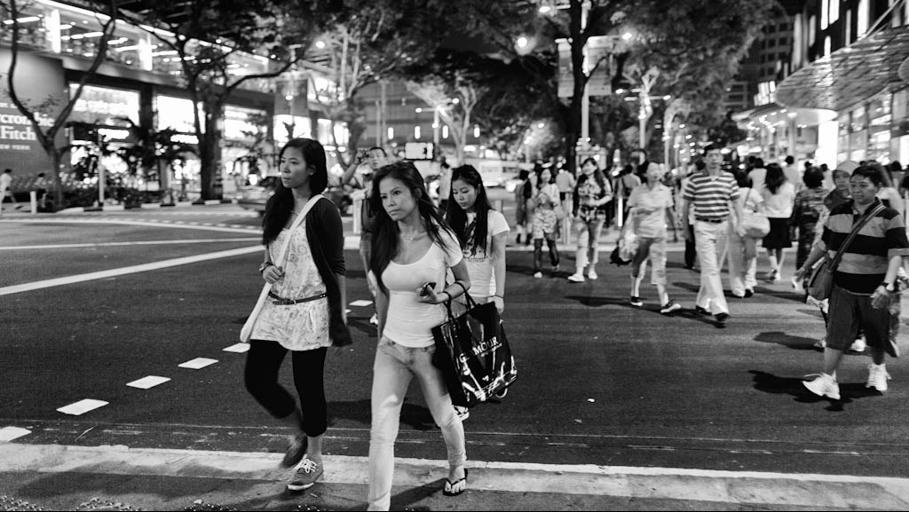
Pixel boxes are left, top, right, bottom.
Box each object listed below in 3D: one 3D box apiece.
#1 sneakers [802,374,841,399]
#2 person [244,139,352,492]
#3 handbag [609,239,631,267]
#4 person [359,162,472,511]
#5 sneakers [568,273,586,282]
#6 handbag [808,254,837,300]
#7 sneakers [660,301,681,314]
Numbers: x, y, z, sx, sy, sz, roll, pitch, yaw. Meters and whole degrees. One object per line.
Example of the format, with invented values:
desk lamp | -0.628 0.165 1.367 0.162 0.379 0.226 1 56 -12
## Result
sneakers | 4.741 1.709 9.687 0.483 0.203 0.188 13 41 6
person | -1.675 0.586 8.134 1.009 3.706 0.872 5 9 26
handbag | 3.106 -0.048 14.080 0.466 0.508 0.547 0 4 2
person | -0.363 0.819 7.742 1.042 3.543 1.023 0 8 -3
sneakers | 2.724 0.498 16.619 0.159 0.158 0.417 -5 -6 45
handbag | 4.840 0.282 9.840 0.279 0.554 0.573 21 5 31
sneakers | 3.866 0.953 13.493 0.178 0.173 0.392 -26 -7 -19
